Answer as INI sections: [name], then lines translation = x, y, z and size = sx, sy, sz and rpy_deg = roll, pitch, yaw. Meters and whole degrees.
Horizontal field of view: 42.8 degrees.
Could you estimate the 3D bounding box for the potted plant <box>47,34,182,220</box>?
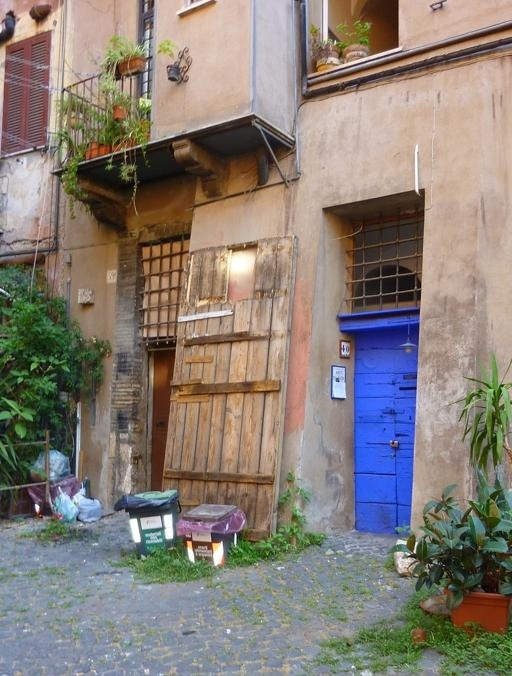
[potted plant]
translation = -1.941, -3.066, 8.533
size = 1.159, 2.763, 2.782
rpy_deg = 0, -4, -28
